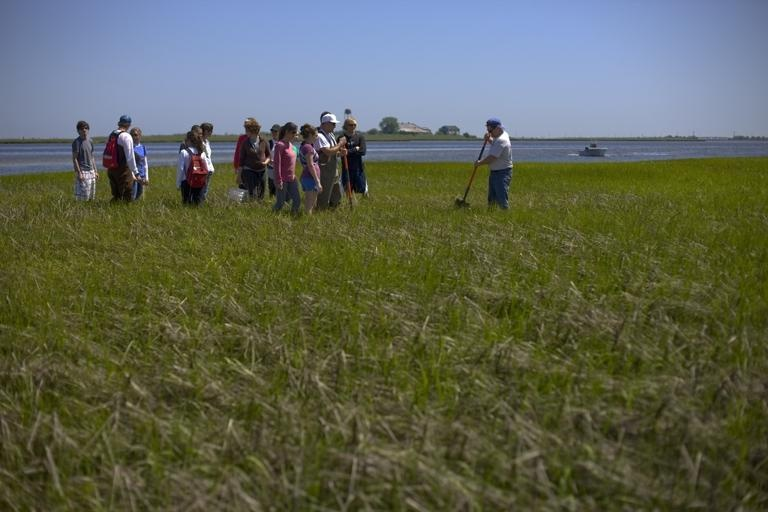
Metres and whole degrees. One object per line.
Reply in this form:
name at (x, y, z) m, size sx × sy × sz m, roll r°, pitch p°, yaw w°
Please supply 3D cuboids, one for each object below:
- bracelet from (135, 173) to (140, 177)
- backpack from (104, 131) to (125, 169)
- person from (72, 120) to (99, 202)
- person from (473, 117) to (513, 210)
bracelet at (-5.548, -1.807, 13.276) m, size 0.016 × 0.073 × 0.072 m, roll -12°, pitch 23°, yaw 1°
backpack at (-5.964, -2.306, 12.934) m, size 0.358 × 0.841 × 0.602 m, roll -4°, pitch 15°, yaw -24°
person at (-6.915, -2.142, 13.646) m, size 0.511 × 1.897 × 1.555 m, roll -5°, pitch 15°, yaw -27°
person at (2.634, -2.126, 13.752) m, size 0.711 × 2.037 × 1.595 m, roll 4°, pitch 14°, yaw 11°
